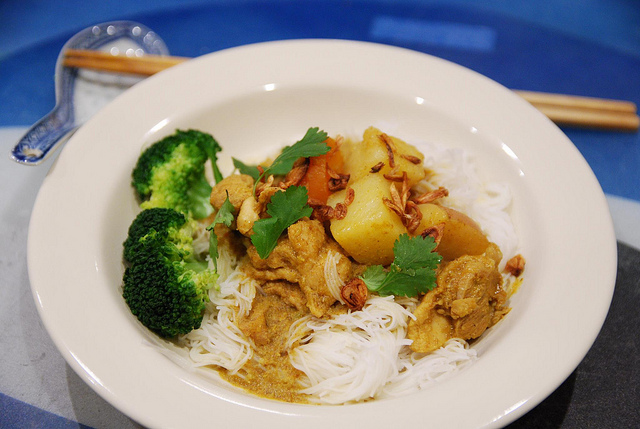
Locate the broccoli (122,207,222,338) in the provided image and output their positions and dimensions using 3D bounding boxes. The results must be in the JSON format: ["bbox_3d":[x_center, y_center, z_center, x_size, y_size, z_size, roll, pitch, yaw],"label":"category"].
[{"bbox_3d":[-1.169,0.427,4.742,0.754,1.035,0.536,-19,-8,8],"label":"broccoli"}]

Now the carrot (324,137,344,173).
[{"bbox_3d":[0.121,-0.481,4.796,0.058,0.198,0.252,-14,32,31],"label":"carrot"}]

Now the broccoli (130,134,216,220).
[{"bbox_3d":[-1.281,-0.347,5.007,0.685,0.731,0.308,6,-4,0],"label":"broccoli"}]
